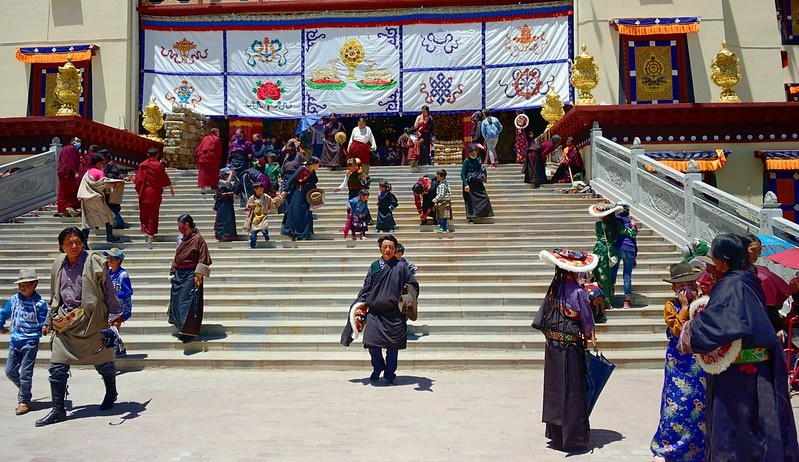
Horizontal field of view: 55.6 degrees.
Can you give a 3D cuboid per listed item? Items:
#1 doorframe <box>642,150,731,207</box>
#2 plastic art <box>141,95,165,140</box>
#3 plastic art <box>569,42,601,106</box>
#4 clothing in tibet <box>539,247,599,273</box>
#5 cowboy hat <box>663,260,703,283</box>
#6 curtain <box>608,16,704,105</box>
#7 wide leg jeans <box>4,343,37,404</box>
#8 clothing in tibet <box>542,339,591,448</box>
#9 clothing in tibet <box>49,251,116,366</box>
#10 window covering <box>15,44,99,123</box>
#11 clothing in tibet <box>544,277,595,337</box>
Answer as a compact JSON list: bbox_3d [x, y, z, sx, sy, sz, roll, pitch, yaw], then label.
[{"bbox_3d":[9.056,-1.788,23.988,2.482,1.652,0.391,0,3,3],"label":"doorframe"},{"bbox_3d":[-9.226,-4.136,28.225,0.914,1.543,0.766,3,7,-1],"label":"plastic art"},{"bbox_3d":[5.983,-5.031,24.582,0.787,2.008,1.562,2,6,13],"label":"plastic art"},{"bbox_3d":[3.251,0.566,14.361,0.678,0.209,0.623,0,8,-40],"label":"clothing in tibet"},{"bbox_3d":[5.354,0.811,14.565,0.434,0.186,0.481,-11,-6,-2],"label":"cowboy hat"},{"bbox_3d":[9.456,-6.129,27.600,4.163,3.773,0.569,0,-1,2],"label":"curtain"},{"bbox_3d":[-7.675,2.899,15.349,0.567,1.220,0.420,4,7,30],"label":"wide leg jeans"},{"bbox_3d":[3.122,3.099,14.234,0.839,1.983,0.511,1,6,11],"label":"clothing in tibet"},{"bbox_3d":[-6.474,1.565,15.269,1.317,2.239,0.741,-5,-9,2],"label":"clothing in tibet"},{"bbox_3d":[-13.184,-5.554,29.085,3.532,3.100,0.470,1,2,10],"label":"window covering"},{"bbox_3d":[3.267,1.469,14.548,0.730,1.133,0.608,-9,-11,-24],"label":"clothing in tibet"}]
